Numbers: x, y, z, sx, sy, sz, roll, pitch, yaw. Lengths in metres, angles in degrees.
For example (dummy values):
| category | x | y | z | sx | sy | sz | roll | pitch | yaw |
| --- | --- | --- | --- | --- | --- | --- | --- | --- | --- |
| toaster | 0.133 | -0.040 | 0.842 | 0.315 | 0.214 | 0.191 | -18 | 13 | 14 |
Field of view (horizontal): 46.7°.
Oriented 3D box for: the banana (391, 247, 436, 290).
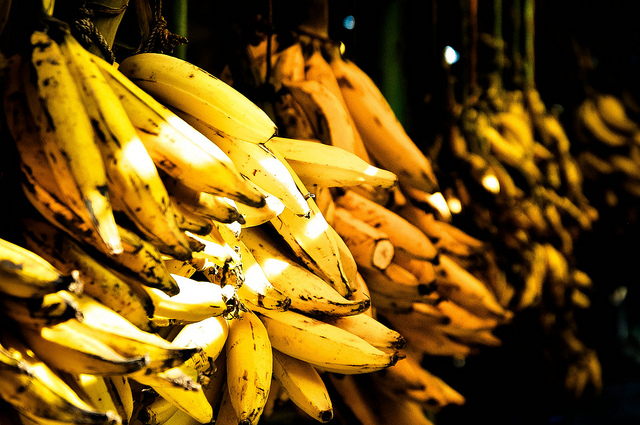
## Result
| category | x | y | z | sx | sy | sz | roll | pitch | yaw |
| --- | --- | --- | --- | --- | --- | --- | --- | --- | --- |
| banana | 0.216 | 0.133 | 1.929 | 0.057 | 0.067 | 0.207 | 45 | 13 | 27 |

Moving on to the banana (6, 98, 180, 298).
| category | x | y | z | sx | sy | sz | roll | pitch | yaw |
| --- | --- | --- | --- | --- | --- | --- | --- | --- | --- |
| banana | -0.435 | -0.019 | 1.378 | 0.070 | 0.356 | 0.117 | -28 | 8 | 34 |

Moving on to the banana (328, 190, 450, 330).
| category | x | y | z | sx | sy | sz | roll | pitch | yaw |
| --- | --- | --- | --- | --- | --- | --- | --- | --- | --- |
| banana | 0.159 | 0.125 | 1.823 | 0.090 | 0.338 | 0.120 | -37 | 4 | -22 |

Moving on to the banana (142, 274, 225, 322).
| category | x | y | z | sx | sy | sz | roll | pitch | yaw |
| --- | --- | --- | --- | --- | --- | --- | --- | --- | --- |
| banana | -0.268 | 0.177 | 1.469 | 0.154 | 0.083 | 0.054 | 18 | -15 | -17 |

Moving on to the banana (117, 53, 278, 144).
| category | x | y | z | sx | sy | sz | roll | pitch | yaw |
| --- | --- | --- | --- | --- | --- | --- | --- | --- | --- |
| banana | -0.264 | -0.257 | 1.551 | 0.384 | 0.114 | 0.118 | 29 | 15 | 18 |

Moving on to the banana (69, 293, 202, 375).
| category | x | y | z | sx | sy | sz | roll | pitch | yaw |
| --- | --- | --- | --- | --- | --- | --- | --- | --- | --- |
| banana | -0.354 | 0.227 | 1.387 | 0.205 | 0.058 | 0.076 | 23 | 19 | -4 |

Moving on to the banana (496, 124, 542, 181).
| category | x | y | z | sx | sy | sz | roll | pitch | yaw |
| --- | --- | --- | --- | --- | --- | --- | --- | --- | --- |
| banana | 0.586 | -0.176 | 2.238 | 0.048 | 0.042 | 0.192 | 10 | 43 | -45 |

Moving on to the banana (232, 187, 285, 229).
| category | x | y | z | sx | sy | sz | roll | pitch | yaw |
| --- | --- | --- | --- | --- | --- | --- | --- | --- | --- |
| banana | -0.127 | -0.002 | 1.526 | 0.087 | 0.033 | 0.072 | -39 | 39 | -5 |

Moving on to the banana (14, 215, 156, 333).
| category | x | y | z | sx | sy | sz | roll | pitch | yaw |
| --- | --- | --- | --- | --- | --- | --- | --- | --- | --- |
| banana | -0.443 | 0.109 | 1.369 | 0.053 | 0.230 | 0.060 | -40 | 12 | 29 |

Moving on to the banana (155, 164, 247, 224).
| category | x | y | z | sx | sy | sz | roll | pitch | yaw |
| --- | --- | --- | --- | --- | --- | --- | --- | --- | --- |
| banana | -0.234 | -0.036 | 1.427 | 0.129 | 0.047 | 0.032 | 34 | 23 | -6 |

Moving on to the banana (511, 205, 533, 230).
| category | x | y | z | sx | sy | sz | roll | pitch | yaw |
| --- | --- | --- | --- | --- | --- | --- | --- | --- | --- |
| banana | 0.565 | 0.016 | 2.102 | 0.042 | 0.085 | 0.027 | -11 | -13 | -9 |

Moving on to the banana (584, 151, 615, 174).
| category | x | y | z | sx | sy | sz | roll | pitch | yaw |
| --- | --- | --- | --- | --- | --- | --- | --- | --- | --- |
| banana | 0.880 | -0.159 | 2.379 | 0.023 | 0.061 | 0.101 | -13 | 16 | -37 |

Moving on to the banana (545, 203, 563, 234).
| category | x | y | z | sx | sy | sz | roll | pitch | yaw |
| --- | --- | --- | --- | --- | --- | --- | --- | --- | --- |
| banana | 0.677 | 0.015 | 2.204 | 0.032 | 0.118 | 0.032 | -8 | -6 | -37 |

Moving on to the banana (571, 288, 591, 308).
| category | x | y | z | sx | sy | sz | roll | pitch | yaw |
| --- | --- | --- | --- | --- | --- | --- | --- | --- | --- |
| banana | 0.768 | 0.257 | 2.237 | 0.064 | 0.044 | 0.016 | 38 | -19 | 12 |

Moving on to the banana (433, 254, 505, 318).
| category | x | y | z | sx | sy | sz | roll | pitch | yaw |
| --- | --- | --- | --- | --- | --- | --- | --- | --- | --- |
| banana | 0.386 | 0.197 | 1.961 | 0.179 | 0.179 | 0.075 | -8 | 13 | -16 |

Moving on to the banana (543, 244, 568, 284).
| category | x | y | z | sx | sy | sz | roll | pitch | yaw |
| --- | --- | --- | --- | --- | --- | --- | --- | --- | --- |
| banana | 0.673 | 0.153 | 2.194 | 0.060 | 0.119 | 0.037 | -3 | -17 | -36 |

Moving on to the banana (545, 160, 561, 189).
| category | x | y | z | sx | sy | sz | roll | pitch | yaw |
| --- | --- | --- | --- | --- | --- | --- | --- | --- | --- |
| banana | 0.700 | -0.118 | 2.281 | 0.046 | 0.092 | 0.028 | 12 | -28 | -22 |

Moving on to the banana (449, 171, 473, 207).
| category | x | y | z | sx | sy | sz | roll | pitch | yaw |
| --- | --- | --- | --- | --- | --- | --- | --- | --- | --- |
| banana | 0.399 | -0.070 | 2.135 | 0.032 | 0.134 | 0.037 | -12 | -19 | -14 |

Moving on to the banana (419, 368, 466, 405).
| category | x | y | z | sx | sy | sz | roll | pitch | yaw |
| --- | --- | --- | --- | --- | --- | --- | --- | --- | --- |
| banana | 0.329 | 0.487 | 2.052 | 0.188 | 0.028 | 0.034 | 39 | 13 | -10 |

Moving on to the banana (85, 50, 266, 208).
| category | x | y | z | sx | sy | sz | roll | pitch | yaw |
| --- | --- | --- | --- | --- | --- | --- | --- | --- | --- |
| banana | -0.339 | -0.191 | 1.452 | 0.076 | 0.332 | 0.079 | -52 | 8 | -27 |

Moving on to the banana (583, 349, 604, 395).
| category | x | y | z | sx | sy | sz | roll | pitch | yaw |
| --- | --- | --- | --- | --- | --- | --- | --- | --- | --- |
| banana | 0.833 | 0.487 | 2.278 | 0.046 | 0.138 | 0.073 | 8 | 17 | 42 |

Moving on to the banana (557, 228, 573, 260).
| category | x | y | z | sx | sy | sz | roll | pitch | yaw |
| --- | --- | --- | --- | --- | --- | --- | --- | --- | --- |
| banana | 0.728 | 0.094 | 2.211 | 0.034 | 0.112 | 0.029 | 1 | 3 | 14 |

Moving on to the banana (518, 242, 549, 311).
| category | x | y | z | sx | sy | sz | roll | pitch | yaw |
| --- | --- | --- | --- | --- | --- | --- | --- | --- | --- |
| banana | 0.606 | 0.200 | 2.133 | 0.077 | 0.231 | 0.154 | 1 | 14 | 19 |

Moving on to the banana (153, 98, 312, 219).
| category | x | y | z | sx | sy | sz | roll | pitch | yaw |
| --- | --- | --- | --- | --- | --- | --- | --- | --- | --- |
| banana | -0.186 | -0.100 | 1.480 | 0.314 | 0.053 | 0.064 | 41 | 22 | -9 |

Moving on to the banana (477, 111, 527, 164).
| category | x | y | z | sx | sy | sz | roll | pitch | yaw |
| --- | --- | --- | --- | --- | --- | --- | --- | --- | --- |
| banana | 0.536 | -0.221 | 2.238 | 0.041 | 0.170 | 0.058 | -45 | -9 | 26 |

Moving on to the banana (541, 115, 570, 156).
| category | x | y | z | sx | sy | sz | roll | pitch | yaw |
| --- | --- | --- | --- | --- | --- | --- | --- | --- | --- |
| banana | 0.727 | -0.240 | 2.337 | 0.037 | 0.050 | 0.141 | -23 | 64 | -22 |

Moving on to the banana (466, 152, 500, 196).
| category | x | y | z | sx | sy | sz | roll | pitch | yaw |
| --- | --- | --- | --- | --- | --- | --- | --- | --- | --- |
| banana | 0.461 | -0.086 | 2.142 | 0.072 | 0.083 | 0.235 | 4 | 29 | 17 |

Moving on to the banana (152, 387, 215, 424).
| category | x | y | z | sx | sy | sz | roll | pitch | yaw |
| --- | --- | --- | --- | --- | --- | --- | --- | --- | --- |
| banana | -0.284 | 0.395 | 1.511 | 0.130 | 0.039 | 0.038 | 39 | 29 | -15 |

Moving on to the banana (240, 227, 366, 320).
| category | x | y | z | sx | sy | sz | roll | pitch | yaw |
| --- | --- | --- | --- | --- | --- | --- | --- | --- | --- |
| banana | -0.052 | 0.135 | 1.581 | 0.211 | 0.078 | 0.059 | 38 | 26 | 3 |

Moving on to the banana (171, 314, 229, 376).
| category | x | y | z | sx | sy | sz | roll | pitch | yaw |
| --- | --- | --- | --- | --- | --- | --- | --- | --- | --- |
| banana | -0.235 | 0.260 | 1.532 | 0.047 | 0.073 | 0.147 | -28 | 17 | 50 |

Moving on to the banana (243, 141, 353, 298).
| category | x | y | z | sx | sy | sz | roll | pitch | yaw |
| --- | --- | --- | --- | --- | --- | --- | --- | --- | --- |
| banana | -0.058 | 0.019 | 1.578 | 0.073 | 0.348 | 0.121 | -33 | 21 | 5 |

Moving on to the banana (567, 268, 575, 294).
| category | x | y | z | sx | sy | sz | roll | pitch | yaw |
| --- | --- | --- | --- | --- | --- | --- | --- | --- | --- |
| banana | 0.735 | 0.209 | 2.216 | 0.014 | 0.088 | 0.022 | 0 | -7 | -7 |

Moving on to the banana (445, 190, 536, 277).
| category | x | y | z | sx | sy | sz | roll | pitch | yaw |
| --- | --- | --- | --- | --- | --- | --- | --- | --- | --- |
| banana | 0.466 | 0.066 | 2.069 | 0.285 | 0.078 | 0.056 | 43 | 37 | 24 |

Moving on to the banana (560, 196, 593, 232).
| category | x | y | z | sx | sy | sz | roll | pitch | yaw |
| --- | --- | --- | --- | --- | --- | --- | --- | --- | --- |
| banana | 0.769 | 0.005 | 2.258 | 0.085 | 0.098 | 0.044 | 1 | 14 | 20 |

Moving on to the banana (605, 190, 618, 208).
| category | x | y | z | sx | sy | sz | roll | pitch | yaw |
| --- | --- | --- | --- | --- | --- | --- | --- | --- | --- |
| banana | 0.911 | -0.044 | 2.350 | 0.037 | 0.053 | 0.014 | 1 | 14 | 21 |

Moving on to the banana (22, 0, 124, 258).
| category | x | y | z | sx | sy | sz | roll | pitch | yaw |
| --- | --- | --- | --- | --- | --- | --- | --- | --- | --- |
| banana | -0.471 | -0.159 | 1.429 | 0.111 | 0.635 | 0.109 | -17 | -11 | 11 |

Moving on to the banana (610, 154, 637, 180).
| category | x | y | z | sx | sy | sz | roll | pitch | yaw |
| --- | --- | --- | --- | --- | --- | --- | --- | --- | --- |
| banana | 0.946 | -0.145 | 2.342 | 0.077 | 0.073 | 0.043 | 1 | 14 | 21 |

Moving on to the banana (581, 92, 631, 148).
| category | x | y | z | sx | sy | sz | roll | pitch | yaw |
| --- | --- | --- | --- | --- | --- | --- | --- | --- | --- |
| banana | 0.878 | -0.310 | 2.307 | 0.110 | 0.077 | 0.287 | 4 | 0 | 14 |

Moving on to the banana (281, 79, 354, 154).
| category | x | y | z | sx | sy | sz | roll | pitch | yaw |
| --- | --- | --- | --- | --- | --- | --- | --- | --- | --- |
| banana | -0.017 | -0.232 | 1.819 | 0.057 | 0.220 | 0.072 | -37 | 3 | -3 |

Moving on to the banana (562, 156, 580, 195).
| category | x | y | z | sx | sy | sz | roll | pitch | yaw |
| --- | --- | --- | --- | --- | --- | --- | --- | --- | --- |
| banana | 0.758 | -0.120 | 2.315 | 0.033 | 0.130 | 0.036 | -25 | -31 | 21 |
